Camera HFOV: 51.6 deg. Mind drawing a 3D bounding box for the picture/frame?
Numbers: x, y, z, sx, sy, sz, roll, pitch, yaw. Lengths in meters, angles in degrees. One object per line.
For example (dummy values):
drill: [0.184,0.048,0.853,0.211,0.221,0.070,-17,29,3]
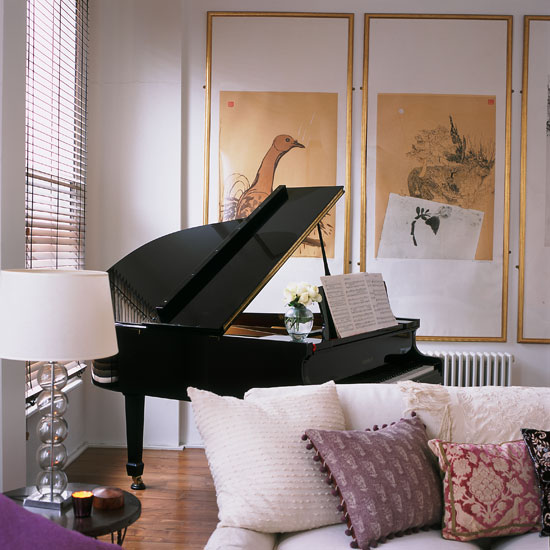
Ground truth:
picture/frame: [0.831,-0.839,4.231,2.038,1.938,0.047,0,2,0]
